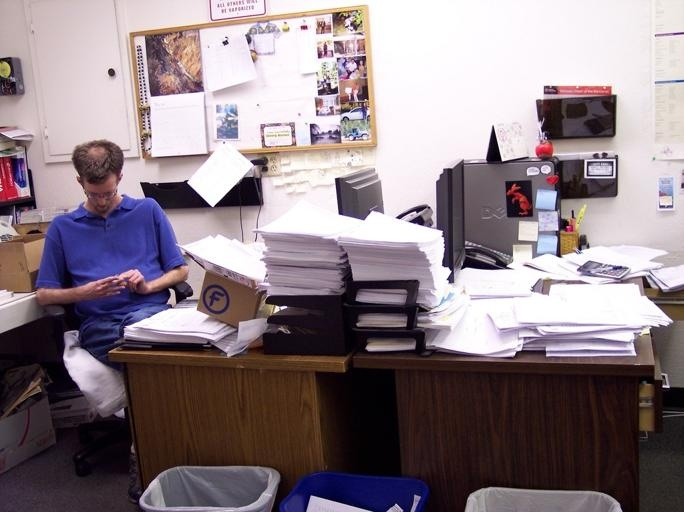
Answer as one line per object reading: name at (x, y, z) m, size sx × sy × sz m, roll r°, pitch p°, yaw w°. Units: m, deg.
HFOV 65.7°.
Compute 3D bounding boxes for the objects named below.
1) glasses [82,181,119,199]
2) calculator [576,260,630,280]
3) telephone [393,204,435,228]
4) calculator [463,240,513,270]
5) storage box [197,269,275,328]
glasses at (-1.173, -0.320, 2.589) m, size 0.137 × 0.082 × 0.130 m, roll -9°, pitch 14°, yaw -29°
calculator at (1.179, 0.063, 2.401) m, size 0.144 × 0.015 × 0.109 m, roll 9°, pitch 26°, yaw 28°
telephone at (0.329, -0.183, 2.297) m, size 0.176 × 0.065 × 0.154 m, roll -17°, pitch 13°, yaw 1°
calculator at (0.704, 0.006, 2.544) m, size 0.190 × 0.059 × 0.143 m, roll 7°, pitch 14°, yaw 7°
storage box at (-0.372, 0.151, 1.862) m, size 0.202 × 0.144 × 0.200 m, roll 24°, pitch -3°, yaw 5°
